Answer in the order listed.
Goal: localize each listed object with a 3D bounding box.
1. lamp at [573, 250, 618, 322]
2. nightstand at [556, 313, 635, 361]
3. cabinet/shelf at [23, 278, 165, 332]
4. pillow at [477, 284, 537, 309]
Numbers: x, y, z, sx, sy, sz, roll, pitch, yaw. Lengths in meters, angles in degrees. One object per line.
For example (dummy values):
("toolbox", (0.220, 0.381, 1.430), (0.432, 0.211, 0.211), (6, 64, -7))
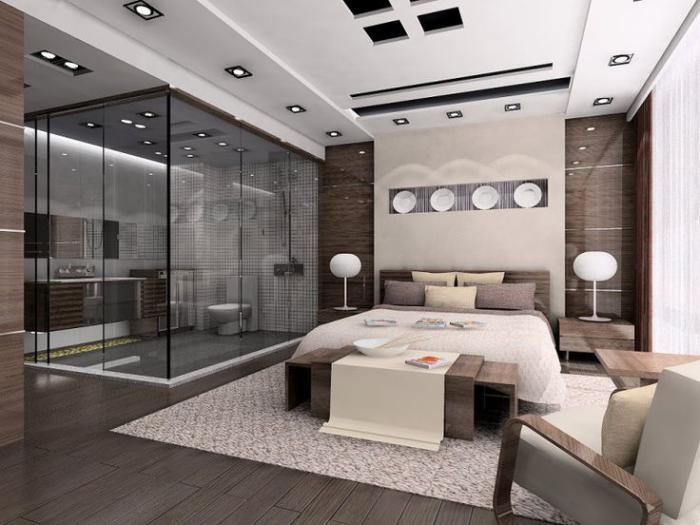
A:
("lamp", (2.973, 0.295, 5.608), (0.463, 0.842, 0.569), (5, 11, 24))
("nightstand", (2.827, 1.022, 5.566), (1.020, 0.465, 0.698), (1, -20, 8))
("cabinet/shelf", (-2.849, 0.431, 5.071), (0.518, 0.474, 1.555), (-4, -2, 22))
("pillow", (1.917, 0.410, 5.593), (0.661, 0.329, 0.150), (1, -40, 13))
